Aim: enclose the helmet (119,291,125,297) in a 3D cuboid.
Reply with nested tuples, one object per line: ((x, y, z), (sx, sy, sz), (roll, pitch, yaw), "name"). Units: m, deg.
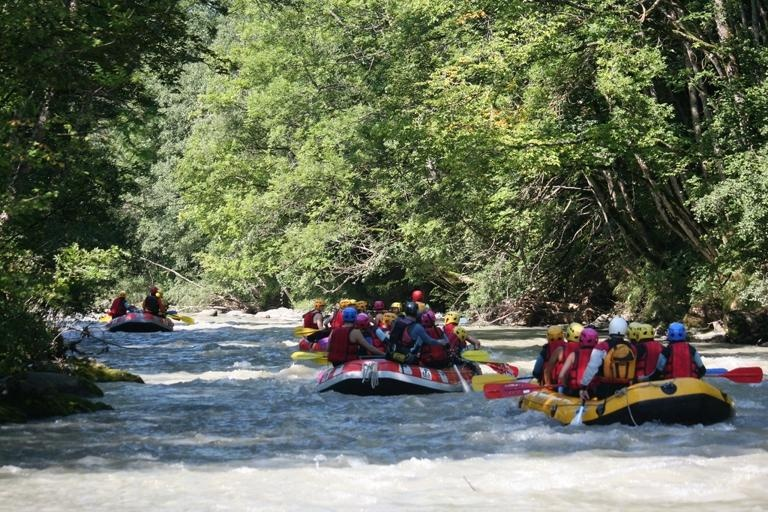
((-9.952, 1.444, 31.060), (0.252, 0.211, 0.242), (4, 7, -8), "helmet")

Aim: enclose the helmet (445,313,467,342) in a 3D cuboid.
((1.595, 1.565, 18.855), (0.560, 0.495, 0.620), (4, 2, 5), "helmet")

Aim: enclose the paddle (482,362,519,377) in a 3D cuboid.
((2.753, 2.664, 19.249), (0.797, 0.190, 0.437), (7, -7, -7), "paddle")

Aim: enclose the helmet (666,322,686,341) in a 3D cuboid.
((5.561, 1.435, 15.463), (0.305, 0.377, 0.358), (1, 5, 14), "helmet")

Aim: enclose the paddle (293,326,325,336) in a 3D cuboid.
((-2.098, 2.291, 24.424), (1.264, 0.158, 0.338), (-5, 29, -5), "paddle")

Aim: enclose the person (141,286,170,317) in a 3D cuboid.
((-8.768, 1.762, 31.111), (0.892, 1.297, 1.419), (-2, 5, -15), "person")
